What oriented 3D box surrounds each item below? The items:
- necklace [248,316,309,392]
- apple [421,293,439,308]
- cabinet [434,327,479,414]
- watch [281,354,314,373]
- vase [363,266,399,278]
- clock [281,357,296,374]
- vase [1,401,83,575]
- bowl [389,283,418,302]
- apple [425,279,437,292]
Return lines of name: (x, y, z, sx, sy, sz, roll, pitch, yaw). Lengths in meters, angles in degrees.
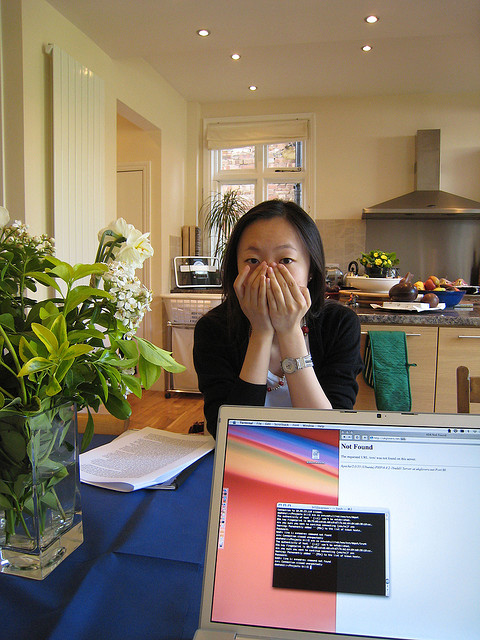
necklace: (0.094, 0.079, 1.168, 0.149, 0.166, 0.114, -1, 6, 0)
apple: (0.914, -0.092, 2.372, 0.074, 0.066, 0.123, 1, 6, 20)
cabinet: (0.926, 0.219, 2.108, 0.168, 0.383, 0.135, 0, 6, 14)
watch: (0.118, 0.089, 0.989, 0.048, 0.030, 0.053, -9, -8, 39)
vase: (0.843, -0.287, 2.941, 0.174, 0.064, 0.355, 1, 6, 15)
clock: (0.101, 0.091, 0.991, 0.031, 0.020, 0.031, -2, 7, -2)
vase: (-0.211, 0.184, 0.539, 0.088, 0.188, 0.081, -4, 6, -33)
bowl: (0.759, -0.124, 2.296, 0.097, 0.052, 0.096, -4, 1, 0)
apple: (1.065, -0.187, 2.736, 0.035, 0.065, 0.051, -15, -26, 34)
